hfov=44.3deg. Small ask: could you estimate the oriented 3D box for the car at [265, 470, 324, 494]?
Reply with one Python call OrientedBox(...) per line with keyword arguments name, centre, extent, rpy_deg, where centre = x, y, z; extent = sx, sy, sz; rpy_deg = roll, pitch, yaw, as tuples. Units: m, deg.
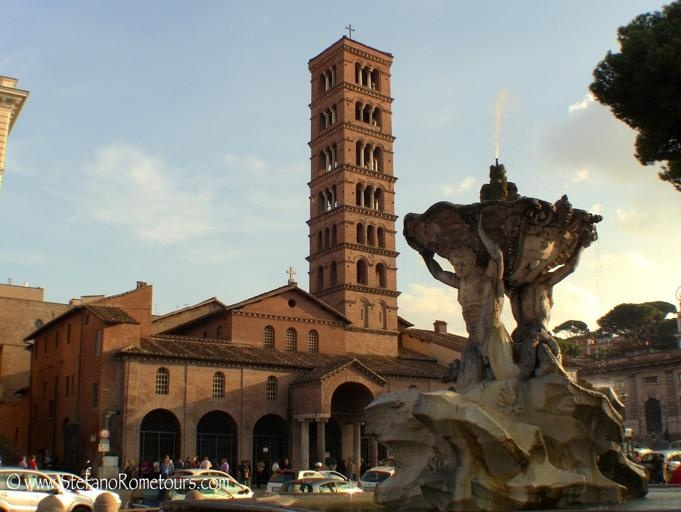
OrientedBox(name="car", centre=(-1.750, 7.913, 28.455), extent=(2.008, 0.918, 1.137), rpy_deg=(2, -10, -31))
